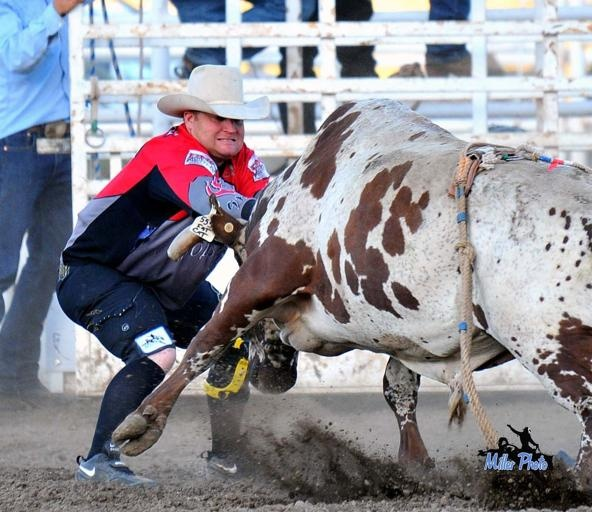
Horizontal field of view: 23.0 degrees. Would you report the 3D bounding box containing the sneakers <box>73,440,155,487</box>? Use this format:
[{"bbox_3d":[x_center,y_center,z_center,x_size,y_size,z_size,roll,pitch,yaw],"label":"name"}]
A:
[{"bbox_3d":[-0.900,1.037,7.120,0.463,0.191,0.154,0,-9,32],"label":"sneakers"}]

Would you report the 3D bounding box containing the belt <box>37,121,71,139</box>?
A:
[{"bbox_3d":[-1.498,-0.749,8.964,0.144,0.106,0.120,-13,-23,12],"label":"belt"}]
